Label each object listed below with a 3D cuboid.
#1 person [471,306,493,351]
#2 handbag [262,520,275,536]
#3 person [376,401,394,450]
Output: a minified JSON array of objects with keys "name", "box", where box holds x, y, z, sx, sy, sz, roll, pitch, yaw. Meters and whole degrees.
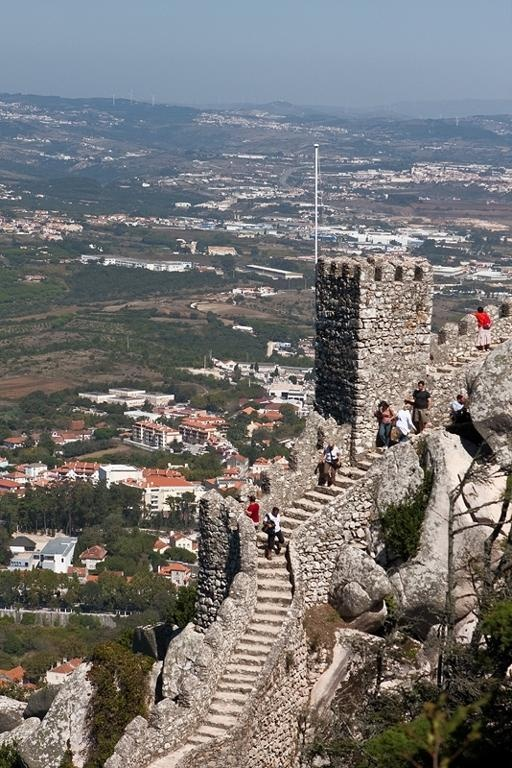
[{"name":"person","box":[3.960,-1.009,19.812,0.280,0.781,0.691,-3,10,11]},{"name":"handbag","box":[0.206,2.038,16.250,0.115,0.213,0.228,-8,-13,-16]},{"name":"person","box":[2.019,0.616,17.714,0.222,0.717,0.305,-11,12,-32]}]
